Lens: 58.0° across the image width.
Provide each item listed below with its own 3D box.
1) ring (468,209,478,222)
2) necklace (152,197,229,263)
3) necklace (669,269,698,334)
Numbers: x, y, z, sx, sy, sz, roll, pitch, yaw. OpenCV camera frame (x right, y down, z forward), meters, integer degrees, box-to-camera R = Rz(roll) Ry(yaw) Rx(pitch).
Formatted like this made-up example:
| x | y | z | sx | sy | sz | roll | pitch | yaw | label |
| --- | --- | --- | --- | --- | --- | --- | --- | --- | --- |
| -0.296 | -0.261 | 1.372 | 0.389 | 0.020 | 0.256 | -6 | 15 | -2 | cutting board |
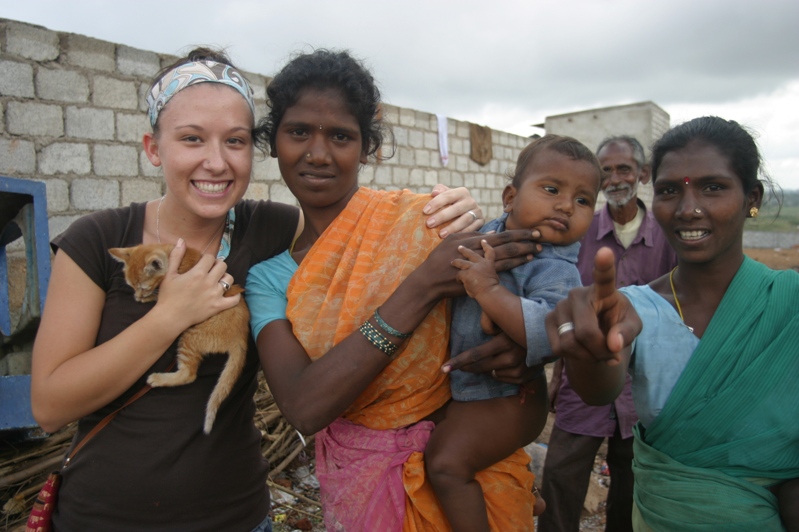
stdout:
| x | y | z | sx | sy | sz | roll | pitch | yaw | label |
| --- | --- | --- | --- | --- | --- | --- | --- | --- | --- |
| 0.413 | -0.277 | 4.044 | 0.013 | 0.054 | 0.055 | -22 | -17 | 36 | ring |
| -1.237 | -0.136 | 4.076 | 0.474 | 0.155 | 0.249 | -33 | 34 | 4 | necklace |
| 1.570 | 0.190 | 4.023 | 0.153 | 0.271 | 0.054 | -22 | -11 | 7 | necklace |
